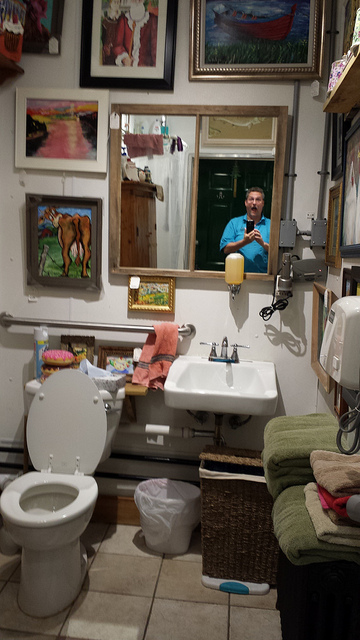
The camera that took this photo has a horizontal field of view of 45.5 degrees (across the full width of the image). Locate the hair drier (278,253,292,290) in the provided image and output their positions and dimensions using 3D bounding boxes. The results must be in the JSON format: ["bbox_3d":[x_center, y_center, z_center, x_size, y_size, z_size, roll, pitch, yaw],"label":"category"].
[{"bbox_3d":[0.443,-0.203,1.787,0.060,0.153,0.058,1,0,-4],"label":"hair drier"}]

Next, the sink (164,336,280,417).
[{"bbox_3d":[0.177,0.256,1.781,0.465,0.350,0.517,2,1,15],"label":"sink"}]

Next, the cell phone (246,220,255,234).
[{"bbox_3d":[0.301,-0.406,1.843,0.038,0.084,0.008,-3,25,-7],"label":"cell phone"}]

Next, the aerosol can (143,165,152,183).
[{"bbox_3d":[-0.139,-0.640,1.872,0.038,0.068,0.011,2,0,29],"label":"aerosol can"}]

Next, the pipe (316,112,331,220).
[{"bbox_3d":[0.601,-0.622,1.793,0.039,0.513,0.052,-32,50,-15],"label":"pipe"}]

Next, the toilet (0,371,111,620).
[{"bbox_3d":[-0.455,0.599,1.622,0.371,0.833,0.597,1,0,-10],"label":"toilet"}]

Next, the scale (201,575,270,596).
[{"bbox_3d":[0.211,1.007,1.626,0.253,0.029,0.052,3,1,7],"label":"scale"}]

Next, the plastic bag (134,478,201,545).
[{"bbox_3d":[-0.050,0.790,1.877,0.244,0.303,0.276,2,9,6],"label":"plastic bag"}]

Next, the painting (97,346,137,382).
[{"bbox_3d":[-0.285,0.201,2.007,0.120,0.139,0.010,2,4,7],"label":"painting"}]

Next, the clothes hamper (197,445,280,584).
[{"bbox_3d":[0.202,0.720,1.947,0.383,0.818,0.469,1,6,4],"label":"clothes hamper"}]

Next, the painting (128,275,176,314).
[{"bbox_3d":[-0.129,-0.122,1.989,0.218,0.170,0.085,2,0,-4],"label":"painting"}]

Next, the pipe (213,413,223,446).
[{"bbox_3d":[0.171,0.481,1.896,0.034,0.142,0.097,1,0,5],"label":"pipe"}]

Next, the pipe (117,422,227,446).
[{"bbox_3d":[-0.080,0.507,2.101,0.405,0.100,0.229,1,9,3],"label":"pipe"}]

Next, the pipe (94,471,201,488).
[{"bbox_3d":[-0.253,0.758,2.195,0.477,0.045,0.209,3,7,6],"label":"pipe"}]
